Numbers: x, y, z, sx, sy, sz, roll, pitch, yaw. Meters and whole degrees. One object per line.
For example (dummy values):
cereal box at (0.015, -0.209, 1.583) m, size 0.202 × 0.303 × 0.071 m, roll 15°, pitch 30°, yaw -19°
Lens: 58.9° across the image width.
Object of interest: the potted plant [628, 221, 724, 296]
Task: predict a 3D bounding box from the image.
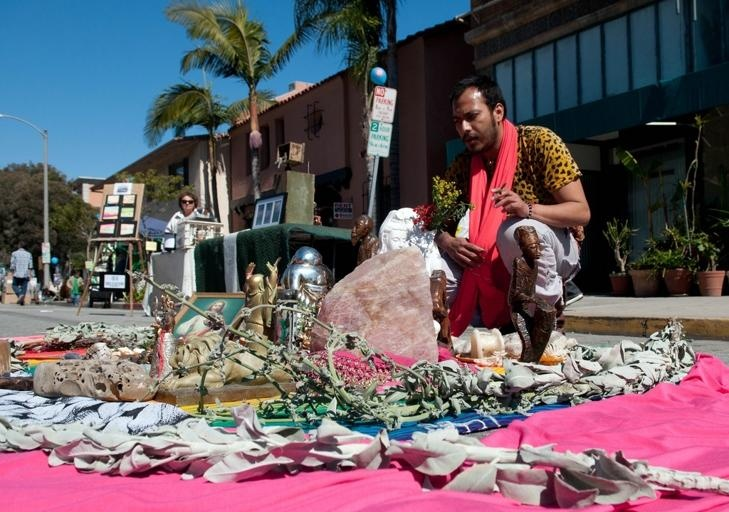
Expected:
potted plant at (4.705, 0.056, 9.720) m, size 1.037 × 0.782 × 1.033 m, roll -1°, pitch 0°, yaw 21°

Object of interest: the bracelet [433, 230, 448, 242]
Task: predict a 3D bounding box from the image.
bracelet at (0.524, -0.133, 4.296) m, size 0.071 × 0.055 × 0.072 m, roll -1°, pitch -6°, yaw 20°

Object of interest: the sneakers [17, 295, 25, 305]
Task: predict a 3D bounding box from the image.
sneakers at (-10.961, 1.400, 20.626) m, size 0.144 × 0.378 × 0.128 m, roll 12°, pitch 26°, yaw -4°

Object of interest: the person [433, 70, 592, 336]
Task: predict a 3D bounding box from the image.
person at (0.900, -0.333, 4.117) m, size 0.986 × 1.693 × 0.866 m, roll -2°, pitch -5°, yaw 27°

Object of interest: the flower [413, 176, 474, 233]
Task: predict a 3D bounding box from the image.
flower at (0.565, -0.386, 4.504) m, size 0.353 × 0.379 × 0.440 m, roll 18°, pitch -46°, yaw 10°

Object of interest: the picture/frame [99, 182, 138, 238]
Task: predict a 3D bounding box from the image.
picture/frame at (-4.863, -0.933, 12.897) m, size 0.803 × 1.261 × 1.293 m, roll 2°, pitch -5°, yaw -22°

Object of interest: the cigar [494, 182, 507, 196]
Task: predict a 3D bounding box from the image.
cigar at (0.823, -0.410, 3.922) m, size 0.063 × 0.067 × 0.248 m, roll 18°, pitch 8°, yaw 6°

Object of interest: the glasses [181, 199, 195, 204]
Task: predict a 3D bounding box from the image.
glasses at (-2.405, -0.745, 8.851) m, size 0.160 × 0.082 × 0.090 m, roll 3°, pitch -6°, yaw -29°
